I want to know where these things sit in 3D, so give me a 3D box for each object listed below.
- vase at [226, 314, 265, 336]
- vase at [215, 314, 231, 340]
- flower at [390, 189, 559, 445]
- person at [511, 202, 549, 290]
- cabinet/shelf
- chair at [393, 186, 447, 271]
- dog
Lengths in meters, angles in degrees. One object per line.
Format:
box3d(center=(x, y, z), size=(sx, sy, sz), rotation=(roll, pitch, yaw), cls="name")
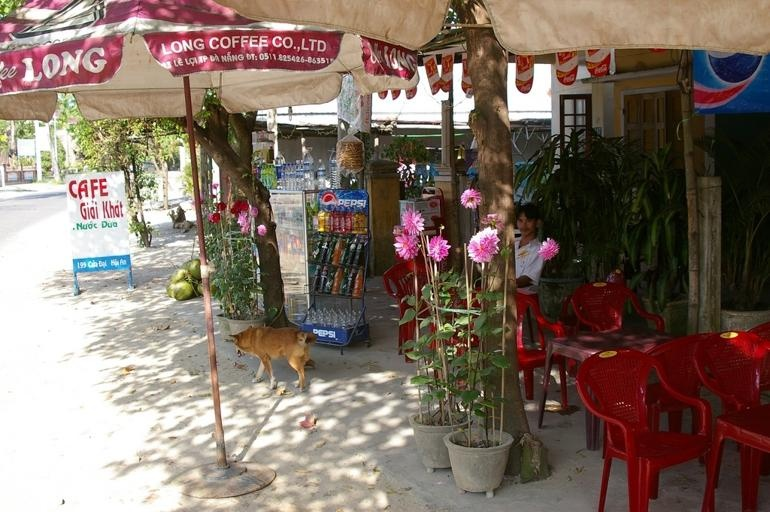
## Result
box3d(center=(-1.917, 0.913, 9.091), size=(0.306, 0.209, 0.322), rotation=(1, 4, 13), cls="vase")
box3d(center=(-2.310, 0.992, 9.560), size=(0.325, 0.366, 0.309), rotation=(-1, 2, -1), cls="vase")
box3d(center=(0.744, 0.646, 6.294), size=(1.758, 2.366, 1.095), rotation=(-2, 1, 22), cls="flower")
box3d(center=(1.713, -0.062, 8.257), size=(0.353, 1.231, 0.537), rotation=(2, 8, -37), cls="person")
box3d(center=(-0.662, 0.205, 9.337), size=(0.869, 2.329, 0.791), rotation=(1, -3, 1), cls="cabinet/shelf")
box3d(center=(0.957, -0.733, 12.213), size=(0.991, 1.957, 0.978), rotation=(-3, 5, -29), cls="chair")
box3d(center=(-1.348, 1.205, 8.004), size=(1.042, 0.756, 0.325), rotation=(-3, 5, 17), cls="dog")
